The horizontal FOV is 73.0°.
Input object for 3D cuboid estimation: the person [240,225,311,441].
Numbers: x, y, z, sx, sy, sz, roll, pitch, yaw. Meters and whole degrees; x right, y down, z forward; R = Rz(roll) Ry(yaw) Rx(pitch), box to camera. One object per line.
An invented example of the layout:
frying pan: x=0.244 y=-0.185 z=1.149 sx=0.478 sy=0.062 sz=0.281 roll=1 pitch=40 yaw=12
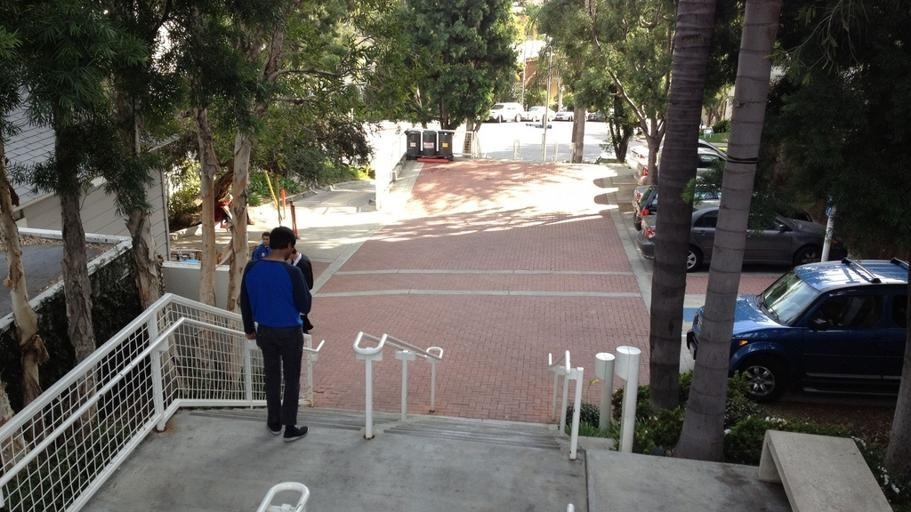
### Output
person: x=-2.338 y=0.994 z=8.177 sx=0.895 sy=2.727 sz=0.524 roll=5 pitch=9 yaw=24

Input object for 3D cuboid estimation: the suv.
suv: x=6.719 y=1.432 z=11.692 sx=4.577 sy=2.596 sz=2.611 roll=0 pitch=12 yaw=8
